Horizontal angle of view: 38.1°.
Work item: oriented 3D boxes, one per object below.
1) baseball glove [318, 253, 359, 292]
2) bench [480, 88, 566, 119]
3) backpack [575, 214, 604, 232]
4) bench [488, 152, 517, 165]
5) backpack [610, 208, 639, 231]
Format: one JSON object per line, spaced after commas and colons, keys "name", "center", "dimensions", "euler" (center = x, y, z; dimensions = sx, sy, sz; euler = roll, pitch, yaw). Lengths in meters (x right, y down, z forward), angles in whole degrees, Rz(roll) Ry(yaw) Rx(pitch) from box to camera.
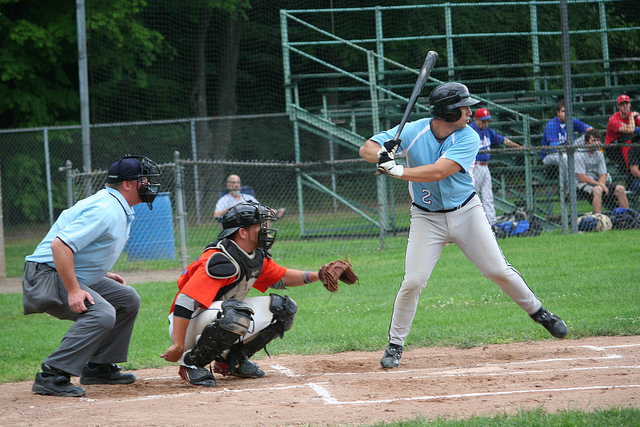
{"name": "baseball glove", "center": [0.242, 0.876, 13.260], "dimensions": [0.533, 0.479, 0.257], "euler": [-1, 2, -21]}
{"name": "bench", "center": [4.945, -2.618, 22.426], "dimensions": [1.923, 0.622, 0.566], "euler": [1, -42, 0]}
{"name": "backpack", "center": [5.467, 0.203, 18.728], "dimensions": [0.533, 0.324, 0.168], "euler": [0, 2, 15]}
{"name": "bench", "center": [4.172, -1.259, 21.159], "dimensions": [0.242, 0.296, 0.221], "euler": [21, 22, 40]}
{"name": "backpack", "center": [6.141, 0.138, 18.641], "dimensions": [0.450, 0.477, 0.207], "euler": [1, -8, 15]}
